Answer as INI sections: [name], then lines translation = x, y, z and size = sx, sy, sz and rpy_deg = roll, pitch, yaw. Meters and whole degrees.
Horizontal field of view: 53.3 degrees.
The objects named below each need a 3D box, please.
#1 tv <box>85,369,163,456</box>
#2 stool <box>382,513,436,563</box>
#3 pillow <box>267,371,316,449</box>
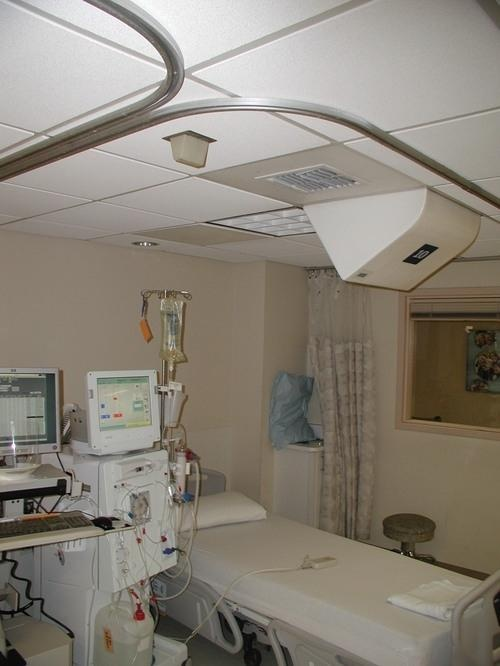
[tv]
translation = -0.700, 0.443, 2.721
size = 0.476, 0.491, 0.180
rpy_deg = 3, -14, -44
[stool]
translation = 1.344, 1.736, 4.171
size = 0.391, 0.359, 0.391
rpy_deg = 0, 2, -15
[pillow]
translation = 0.443, 0.737, 4.771
size = 0.511, 0.628, 0.178
rpy_deg = -6, -16, 39
